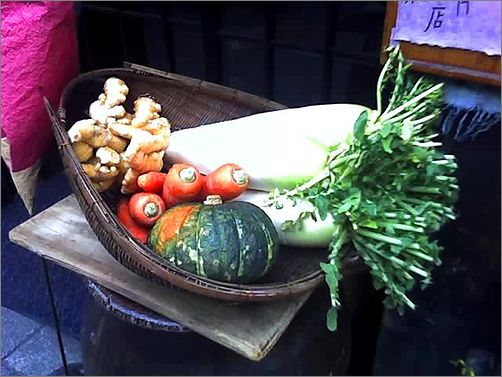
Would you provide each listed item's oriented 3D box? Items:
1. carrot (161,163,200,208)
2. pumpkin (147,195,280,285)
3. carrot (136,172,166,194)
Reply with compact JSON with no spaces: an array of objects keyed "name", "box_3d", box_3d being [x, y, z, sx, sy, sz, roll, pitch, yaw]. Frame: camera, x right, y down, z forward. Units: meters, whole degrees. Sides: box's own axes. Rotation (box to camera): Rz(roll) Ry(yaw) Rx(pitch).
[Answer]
[{"name":"carrot","box_3d":[-0.150,-0.012,0.862,0.079,0.090,0.085,-8,28,-21]},{"name":"pumpkin","box_3d":[-0.072,0.102,0.824,0.276,0.160,0.231,-7,13,-23]},{"name":"carrot","box_3d":[-0.233,-0.012,0.869,0.032,0.037,0.071,26,-4,-10]}]
